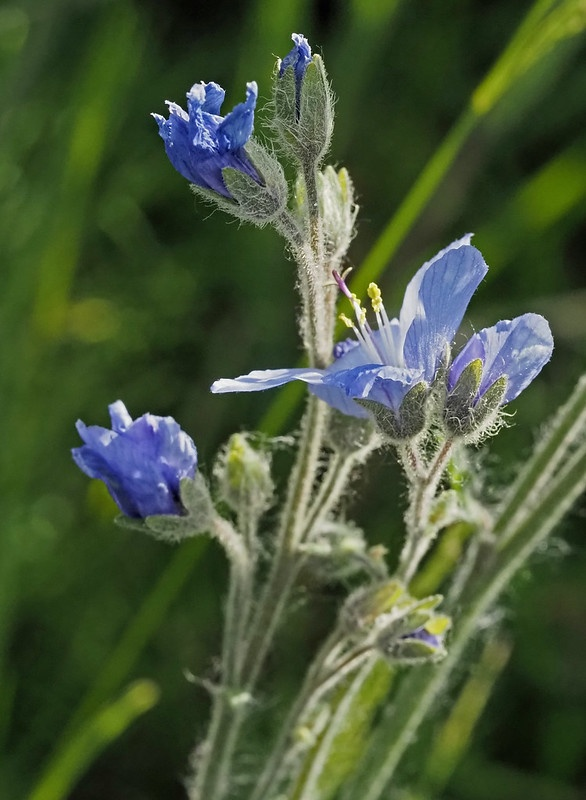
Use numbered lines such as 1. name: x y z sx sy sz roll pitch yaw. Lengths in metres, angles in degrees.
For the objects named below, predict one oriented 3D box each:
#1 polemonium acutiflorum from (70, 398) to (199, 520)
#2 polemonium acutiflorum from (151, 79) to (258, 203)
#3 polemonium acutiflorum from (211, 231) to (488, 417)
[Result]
1. polemonium acutiflorum: -0.135 0.064 0.809 0.117 0.110 0.119 -12 -11 -14
2. polemonium acutiflorum: -0.067 -0.227 0.774 0.111 0.098 0.095 9 -50 10
3. polemonium acutiflorum: 0.075 -0.060 0.806 0.226 0.200 0.162 -4 -30 18
